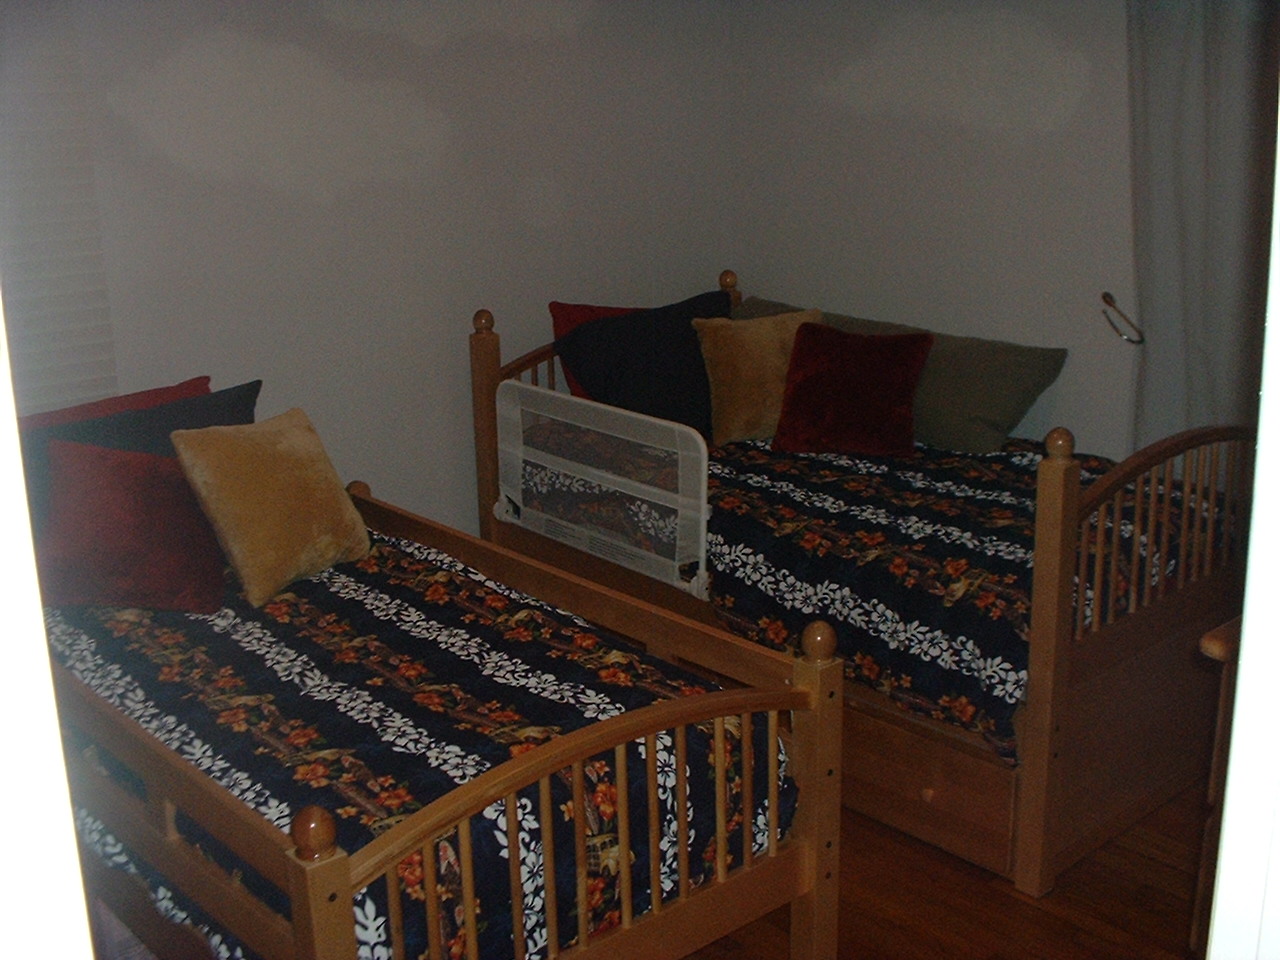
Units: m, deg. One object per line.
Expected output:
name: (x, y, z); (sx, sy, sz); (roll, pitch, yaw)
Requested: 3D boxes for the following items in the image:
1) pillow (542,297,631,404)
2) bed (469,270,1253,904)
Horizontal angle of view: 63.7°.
pillow: (-0.245, -0.468, 3.767); (0.359, 0.328, 0.104); (3, -3, -23)
bed: (0.729, 0.192, 3.015); (1.019, 0.902, 1.649); (-22, 32, -36)
